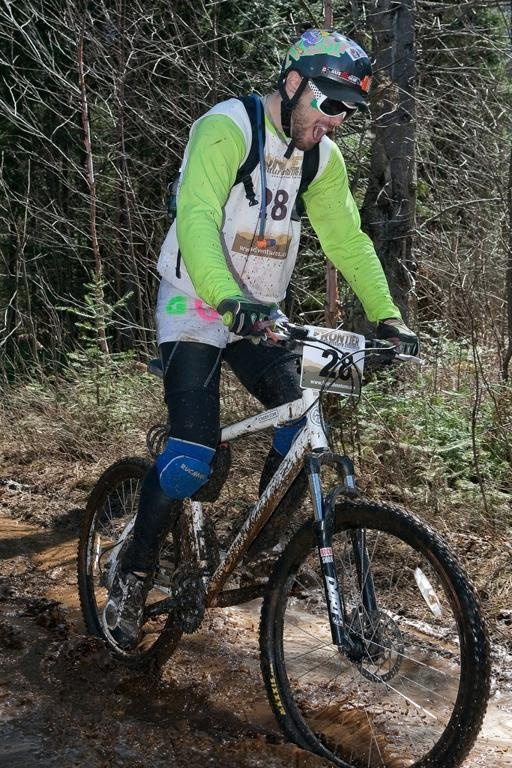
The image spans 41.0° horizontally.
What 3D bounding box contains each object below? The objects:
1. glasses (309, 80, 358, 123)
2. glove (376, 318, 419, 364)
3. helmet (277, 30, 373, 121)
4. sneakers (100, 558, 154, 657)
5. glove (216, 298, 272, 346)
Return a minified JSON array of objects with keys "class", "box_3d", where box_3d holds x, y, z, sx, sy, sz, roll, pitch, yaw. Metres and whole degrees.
[{"class":"glasses","box_3d":[0.257,-0.922,2.257,0.123,0.034,0.098,23,-2,38]},{"class":"glove","box_3d":[0.497,-0.170,2.430,0.081,0.100,0.234,-3,6,-16]},{"class":"helmet","box_3d":[0.248,-1.063,2.369,0.332,0.295,0.258,3,5,32]},{"class":"sneakers","box_3d":[-0.544,0.995,3.071,0.144,0.382,0.272,-5,37,-44]},{"class":"glove","box_3d":[-0.031,-0.194,1.992,0.163,0.112,0.107,2,0,-5]}]
